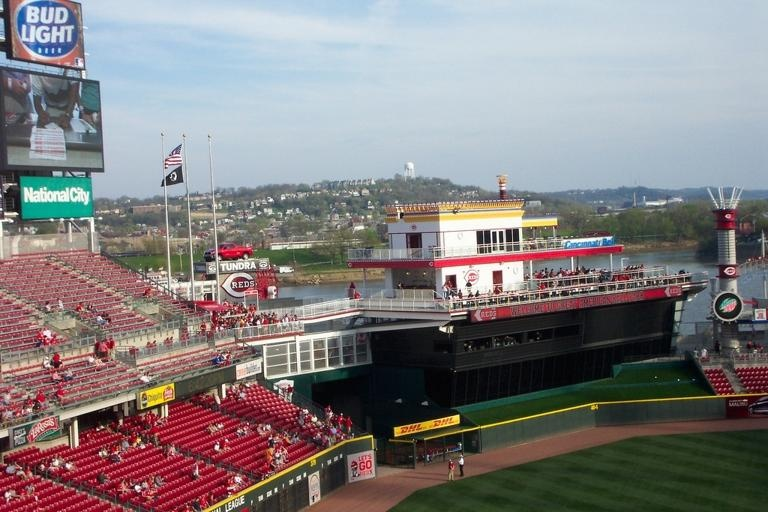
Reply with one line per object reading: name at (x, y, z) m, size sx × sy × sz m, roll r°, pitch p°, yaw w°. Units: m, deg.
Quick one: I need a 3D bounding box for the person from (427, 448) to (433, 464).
person at (3.174, 14.048, 84.224) m, size 0.243 × 0.843 × 0.246 m, roll -1°, pitch -3°, yaw -22°

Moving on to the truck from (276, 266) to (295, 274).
truck at (-14.350, 1.991, 176.326) m, size 1.752 × 0.784 × 1.132 m, roll -7°, pitch 11°, yaw -42°

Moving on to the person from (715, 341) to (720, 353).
person at (25.922, 7.066, 93.683) m, size 0.435 × 0.953 × 1.275 m, roll 4°, pitch 0°, yaw 16°
